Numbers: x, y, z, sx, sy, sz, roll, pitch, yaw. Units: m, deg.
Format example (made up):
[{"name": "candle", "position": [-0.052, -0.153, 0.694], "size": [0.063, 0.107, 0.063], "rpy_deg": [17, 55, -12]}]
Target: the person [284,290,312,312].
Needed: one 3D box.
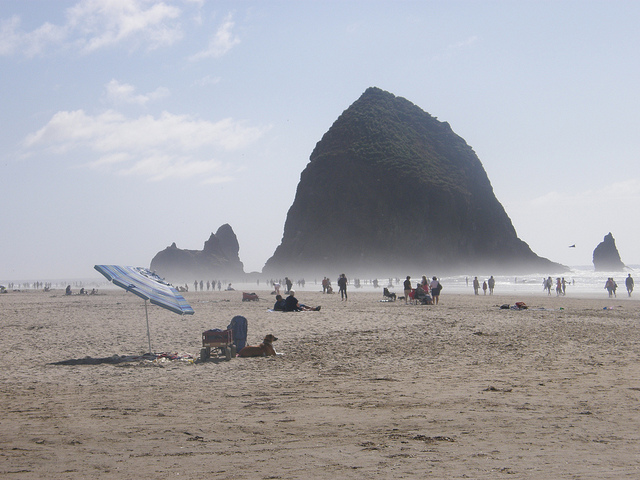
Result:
[{"name": "person", "position": [-1.073, 2.667, 34.060], "size": [1.022, 0.991, 2.130], "rpy_deg": [0, 2, 8]}]

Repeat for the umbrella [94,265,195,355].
[{"name": "umbrella", "position": [-4.449, 1.257, 19.951], "size": [2.153, 1.198, 1.822], "rpy_deg": [-1, 2, -22]}]

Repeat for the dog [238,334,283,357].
[{"name": "dog", "position": [-1.586, 2.757, 20.669], "size": [1.404, 0.660, 0.472], "rpy_deg": [-2, 1, -6]}]

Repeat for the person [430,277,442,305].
[{"name": "person", "position": [6.008, 2.635, 40.874], "size": [0.493, 1.389, 2.075], "rpy_deg": [0, 2, 8]}]

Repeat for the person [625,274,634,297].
[{"name": "person", "position": [20.948, 3.138, 53.301], "size": [0.366, 1.539, 3.456], "rpy_deg": [0, 2, 23]}]
